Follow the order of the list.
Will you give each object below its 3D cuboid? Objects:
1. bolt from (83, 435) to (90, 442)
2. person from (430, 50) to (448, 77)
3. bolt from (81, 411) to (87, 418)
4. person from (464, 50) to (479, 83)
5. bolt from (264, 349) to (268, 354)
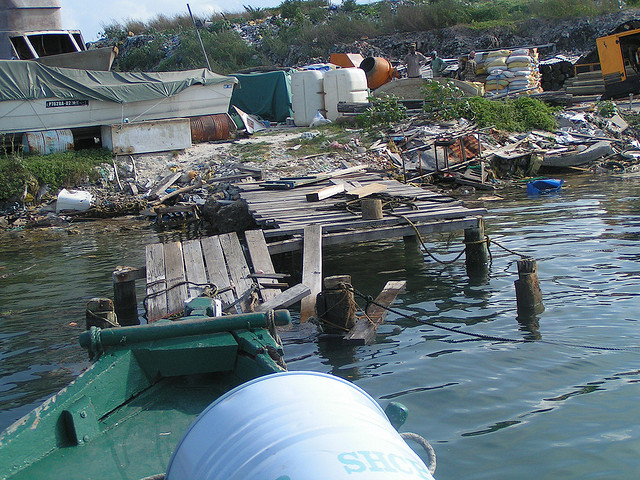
[{"bbox_3d":[-2.741,2.324,8.035,0.098,0.058,0.022,5,-5,-14],"label":"bolt"},{"bbox_3d":[4.530,-6.840,26.652,0.530,1.165,1.702,-8,6,13],"label":"person"},{"bbox_3d":[-2.771,2.038,8.024,0.098,0.056,0.080,3,2,-24],"label":"bolt"},{"bbox_3d":[6.569,-7.623,30.228,0.619,1.294,1.014,-8,8,12],"label":"person"},{"bbox_3d":[-0.676,1.363,8.393,0.054,0.051,0.022,-14,9,-39],"label":"bolt"}]
